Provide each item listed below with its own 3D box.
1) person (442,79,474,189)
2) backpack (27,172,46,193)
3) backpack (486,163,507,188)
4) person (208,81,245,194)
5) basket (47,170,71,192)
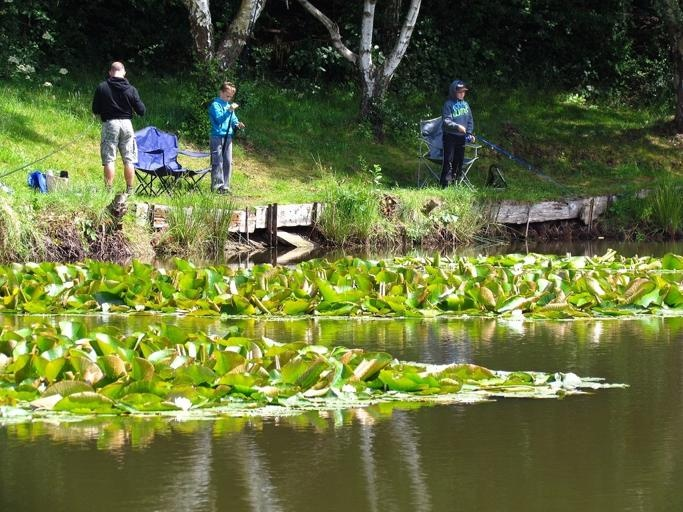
[{"bbox_3d":[1.985,-2.006,23.754,0.573,1.861,0.550,-12,19,-39],"label":"person"},{"bbox_3d":[-4.449,-1.078,20.580,0.255,0.332,0.105,-2,-3,7],"label":"backpack"},{"bbox_3d":[2.910,-1.498,26.428,0.394,0.453,0.344,-8,28,9],"label":"backpack"},{"bbox_3d":[-1.855,-1.856,22.205,0.469,1.770,0.739,1,12,-5],"label":"person"},{"bbox_3d":[-4.152,-1.080,20.574,0.369,0.380,0.208,0,-5,31],"label":"basket"}]
